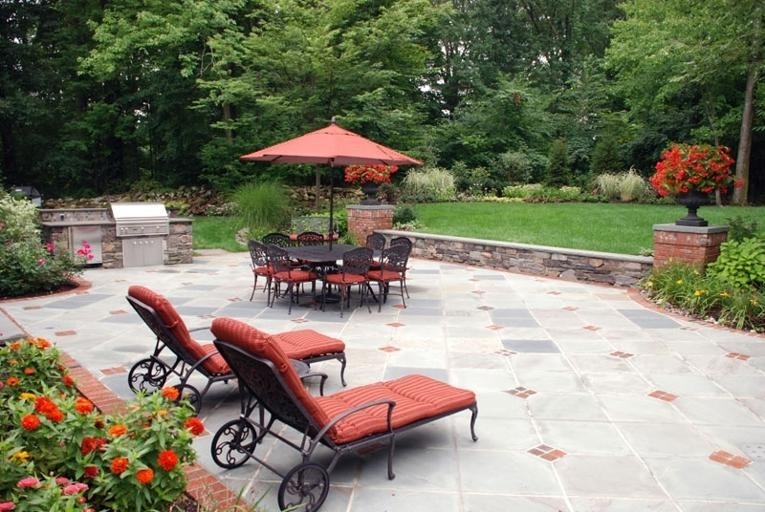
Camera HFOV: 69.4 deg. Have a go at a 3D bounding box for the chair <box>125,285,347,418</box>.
[{"bbox_3d":[-1.280,0.854,5.990,2.547,0.998,1.227,-2,12,-28],"label":"chair"}]

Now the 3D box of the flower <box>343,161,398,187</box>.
[{"bbox_3d":[-0.487,-2.188,14.825,1.553,0.649,1.477,3,7,35],"label":"flower"}]

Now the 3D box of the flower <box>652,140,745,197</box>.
[{"bbox_3d":[5.590,-1.431,9.608,1.487,0.705,1.203,-3,9,7],"label":"flower"}]

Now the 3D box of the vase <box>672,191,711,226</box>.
[{"bbox_3d":[5.411,-0.835,9.587,0.642,0.500,0.528,3,4,9],"label":"vase"}]
